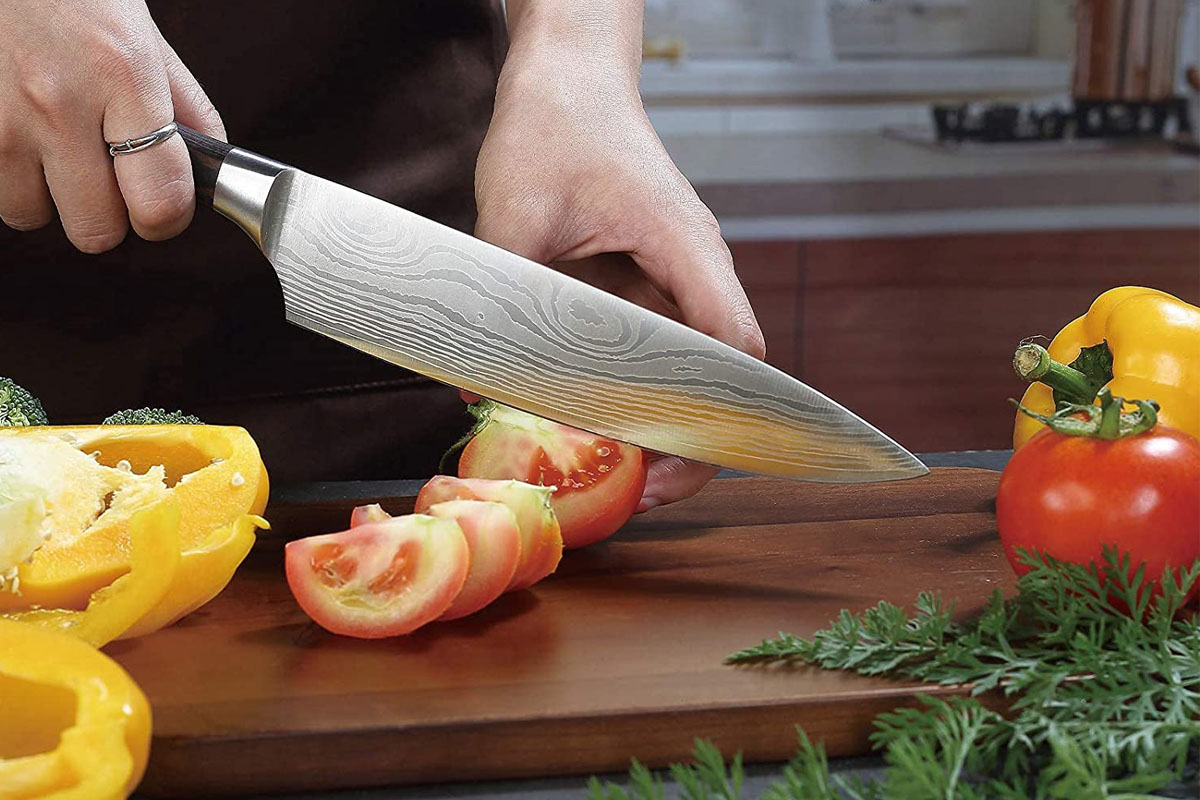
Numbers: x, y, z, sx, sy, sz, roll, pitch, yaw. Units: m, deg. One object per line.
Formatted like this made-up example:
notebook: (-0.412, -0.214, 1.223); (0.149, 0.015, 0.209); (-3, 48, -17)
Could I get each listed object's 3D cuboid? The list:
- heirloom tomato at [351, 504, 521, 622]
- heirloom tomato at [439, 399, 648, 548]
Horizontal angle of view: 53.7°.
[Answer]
heirloom tomato: (-0.195, 0.188, 1.304); (0.163, 0.095, 0.172); (23, -9, -5)
heirloom tomato: (-0.048, 0.137, 1.508); (0.254, 0.137, 0.252); (-11, 21, 5)
